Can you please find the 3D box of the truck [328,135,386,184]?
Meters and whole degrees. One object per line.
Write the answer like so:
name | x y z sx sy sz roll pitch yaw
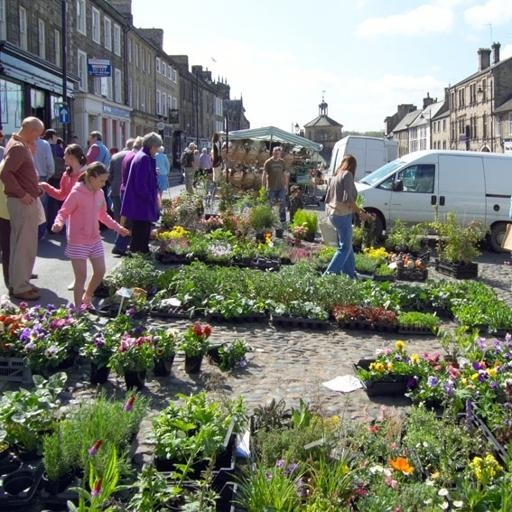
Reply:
truck | 3.989 -3.905 21.285 1.886 2.211 3.494 0 7 5

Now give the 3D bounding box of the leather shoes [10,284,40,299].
leather shoes | -2.956 0.457 6.754 0.262 0.144 0.112 -5 30 -19
